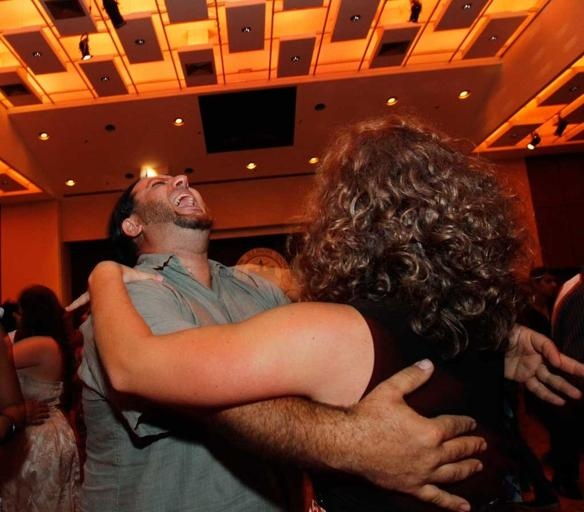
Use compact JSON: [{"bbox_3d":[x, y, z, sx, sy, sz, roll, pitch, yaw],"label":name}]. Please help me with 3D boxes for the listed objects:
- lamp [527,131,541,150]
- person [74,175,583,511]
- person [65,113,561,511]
[{"bbox_3d":[4.332,-2.090,8.317,0.184,0.179,0.297,30,89,-26],"label":"lamp"},{"bbox_3d":[-0.013,0.037,1.180,1.156,0.809,0.419,7,86,12],"label":"person"},{"bbox_3d":[0.054,0.098,1.363,1.180,0.832,0.799,-2,78,22],"label":"person"}]
